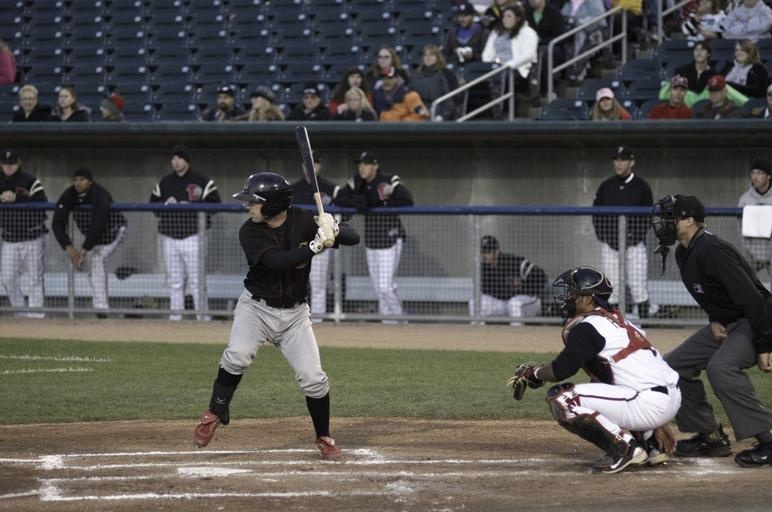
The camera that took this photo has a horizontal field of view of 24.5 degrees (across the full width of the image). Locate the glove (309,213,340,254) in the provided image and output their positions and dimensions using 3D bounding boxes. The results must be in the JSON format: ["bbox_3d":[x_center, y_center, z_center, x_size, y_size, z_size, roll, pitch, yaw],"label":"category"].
[{"bbox_3d":[-0.757,-0.285,22.129,0.359,0.203,0.514,-3,37,19],"label":"glove"}]

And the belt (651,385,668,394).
[{"bbox_3d":[3.368,1.640,21.873,0.219,0.096,0.012,-1,1,-5],"label":"belt"}]

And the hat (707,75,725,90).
[{"bbox_3d":[5.078,-2.636,27.276,0.264,0.249,0.270,-1,1,10],"label":"hat"}]

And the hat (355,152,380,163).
[{"bbox_3d":[-0.284,-1.455,26.658,0.310,0.135,0.203,12,-1,-20],"label":"hat"}]

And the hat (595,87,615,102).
[{"bbox_3d":[3.385,-2.499,27.482,0.248,0.154,0.322,-7,-14,14],"label":"hat"}]

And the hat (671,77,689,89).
[{"bbox_3d":[4.501,-2.645,27.314,0.217,0.207,0.220,-1,1,16],"label":"hat"}]

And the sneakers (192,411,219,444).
[{"bbox_3d":[-2.259,2.155,22.199,0.279,0.424,0.152,21,1,9],"label":"sneakers"}]

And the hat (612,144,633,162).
[{"bbox_3d":[3.545,-1.501,26.294,0.221,0.145,0.299,6,0,35],"label":"hat"}]

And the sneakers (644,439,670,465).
[{"bbox_3d":[3.362,2.446,21.980,0.179,0.185,0.442,-3,3,-2],"label":"sneakers"}]

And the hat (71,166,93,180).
[{"bbox_3d":[-4.587,-1.194,26.757,0.315,0.185,0.289,5,0,3],"label":"hat"}]

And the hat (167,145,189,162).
[{"bbox_3d":[-3.155,-1.549,26.986,0.283,0.216,0.263,17,-3,-14],"label":"hat"}]

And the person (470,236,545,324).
[{"bbox_3d":[1.800,0.397,26.135,1.209,1.027,0.265,6,6,14],"label":"person"}]

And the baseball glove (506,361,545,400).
[{"bbox_3d":[1.743,1.546,22.271,0.228,0.517,0.385,43,-4,-13],"label":"baseball glove"}]

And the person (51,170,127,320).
[{"bbox_3d":[-4.448,-0.189,26.595,1.111,2.214,0.315,-2,1,-8],"label":"person"}]
